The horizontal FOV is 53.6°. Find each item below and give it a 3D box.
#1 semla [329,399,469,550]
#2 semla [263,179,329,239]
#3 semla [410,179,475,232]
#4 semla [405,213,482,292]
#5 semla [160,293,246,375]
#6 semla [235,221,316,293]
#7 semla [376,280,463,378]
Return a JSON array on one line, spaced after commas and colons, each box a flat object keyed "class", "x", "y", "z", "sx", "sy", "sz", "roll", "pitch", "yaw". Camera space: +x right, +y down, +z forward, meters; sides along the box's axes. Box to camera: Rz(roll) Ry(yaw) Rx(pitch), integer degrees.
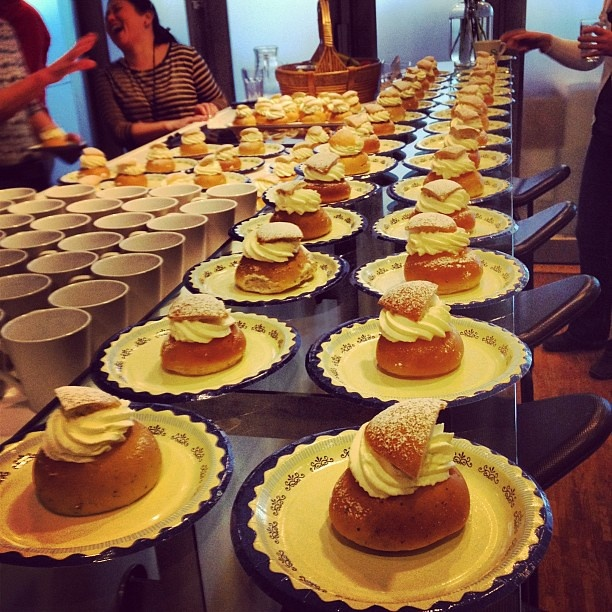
[{"class": "semla", "x": 0.107, "y": 0.190, "z": 0.701, "sx": 0.163, "sy": 0.104, "sz": 0.158, "roll": -10, "pitch": 11, "yaw": -42}, {"class": "semla", "x": 0.009, "y": -0.253, "z": 1.585, "sx": 0.180, "sy": 0.139, "sz": 0.169, "roll": 11, "pitch": 30, "yaw": 32}, {"class": "semla", "x": 0.356, "y": -0.259, "z": 1.545, "sx": 0.172, "sy": 0.104, "sz": 0.150, "roll": 4, "pitch": 19, "yaw": 16}, {"class": "semla", "x": 0.276, "y": -0.108, "z": 1.241, "sx": 0.207, "sy": 0.137, "sz": 0.173, "roll": -5, "pitch": 19, "yaw": -12}, {"class": "semla", "x": -0.158, "y": 0.051, "z": 0.977, "sx": 0.160, "sy": 0.091, "sz": 0.130, "roll": -4, "pitch": 21, "yaw": -6}, {"class": "semla", "x": -0.087, "y": -0.102, "z": 1.301, "sx": 0.175, "sy": 0.103, "sz": 0.164, "roll": -21, "pitch": 29, "yaw": -35}, {"class": "semla", "x": 0.179, "y": 0.029, "z": 0.959, "sx": 0.175, "sy": 0.126, "sz": 0.145, "roll": 2, "pitch": 16, "yaw": 20}]
